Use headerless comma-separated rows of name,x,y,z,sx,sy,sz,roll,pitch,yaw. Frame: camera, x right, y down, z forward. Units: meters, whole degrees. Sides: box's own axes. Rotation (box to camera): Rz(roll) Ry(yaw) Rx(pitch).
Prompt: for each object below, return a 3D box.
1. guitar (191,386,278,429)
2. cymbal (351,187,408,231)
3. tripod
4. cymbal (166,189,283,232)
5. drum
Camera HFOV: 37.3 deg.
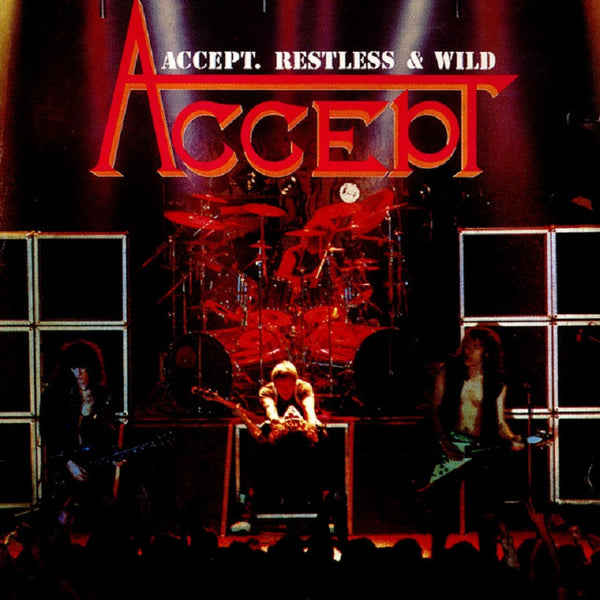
guitar,-0.430,0.668,5.781,0.617,0.212,0.077,28,43,-11
cymbal,0.523,-0.580,5.826,0.319,0.351,0.075,13,15,-1
tripod,-0.089,0.309,5.888,1.093,0.341,1.032,16,29,34
cymbal,-0.547,-0.562,5.822,0.396,0.109,0.390,9,-17,-31
drum,0.189,0.291,5.851,0.968,0.396,0.745,-3,-21,10
